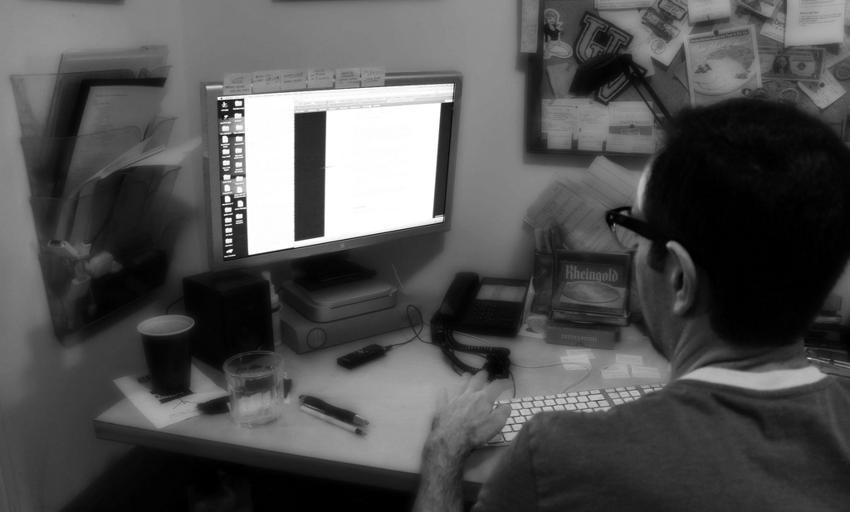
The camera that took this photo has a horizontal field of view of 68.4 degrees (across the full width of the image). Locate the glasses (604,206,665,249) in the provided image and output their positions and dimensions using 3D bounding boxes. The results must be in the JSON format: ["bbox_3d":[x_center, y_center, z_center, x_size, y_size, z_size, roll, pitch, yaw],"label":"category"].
[{"bbox_3d":[0.397,-0.060,1.170,0.070,0.018,0.069,27,16,8],"label":"glasses"}]

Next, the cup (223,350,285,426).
[{"bbox_3d":[-0.385,0.312,1.511,0.155,0.151,0.146,-1,20,0],"label":"cup"}]

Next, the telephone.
[{"bbox_3d":[0.172,0.145,1.821,0.200,0.061,0.213,4,31,12],"label":"telephone"}]

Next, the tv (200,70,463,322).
[{"bbox_3d":[-0.269,-0.181,1.707,0.754,0.487,0.074,-9,21,-28],"label":"tv"}]

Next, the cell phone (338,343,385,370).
[{"bbox_3d":[-0.176,0.259,1.680,0.103,0.021,0.054,-19,21,-41],"label":"cell phone"}]
